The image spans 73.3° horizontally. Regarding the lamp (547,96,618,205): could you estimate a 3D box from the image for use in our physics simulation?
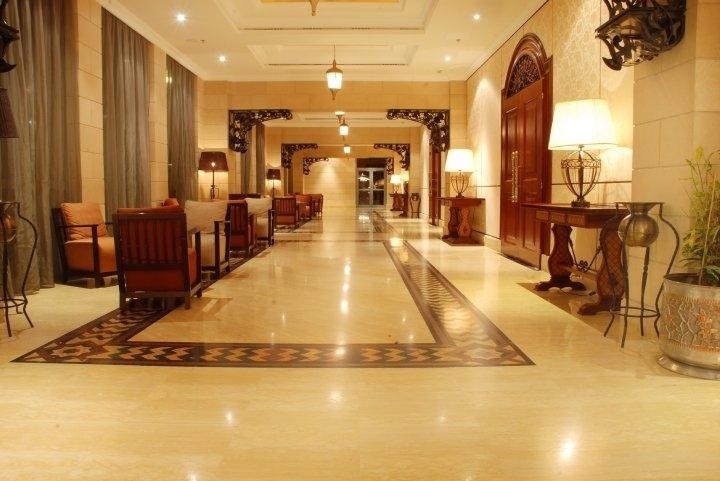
[{"bbox_3d":[2.587,-1.005,5.562,0.661,1.141,1.143,5,11,26],"label":"lamp"}]

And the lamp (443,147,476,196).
[{"bbox_3d":[2.250,-1.505,10.807,0.603,1.107,1.658,2,10,13],"label":"lamp"}]

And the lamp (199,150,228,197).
[{"bbox_3d":[-3.496,-1.532,11.393,0.684,1.123,0.811,1,10,5],"label":"lamp"}]

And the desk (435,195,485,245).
[{"bbox_3d":[2.275,-0.425,11.099,0.753,0.963,1.469,0,2,-1],"label":"desk"}]
